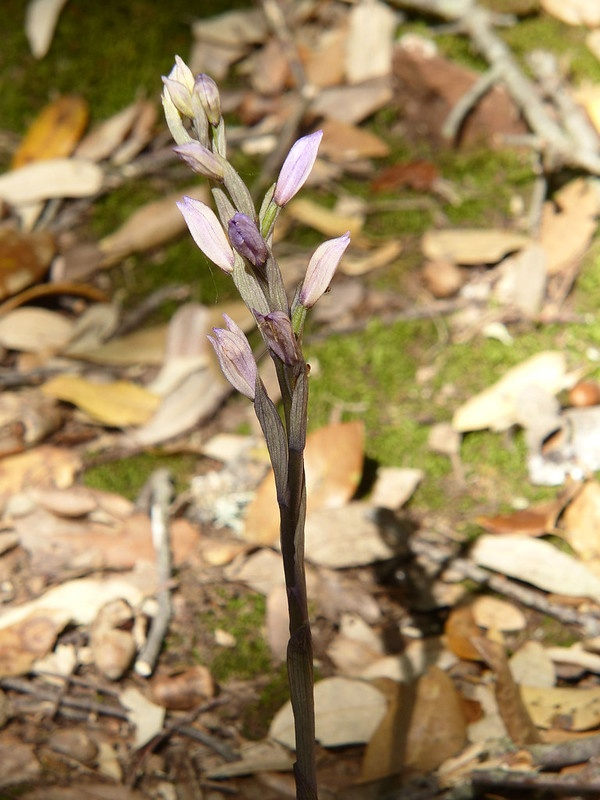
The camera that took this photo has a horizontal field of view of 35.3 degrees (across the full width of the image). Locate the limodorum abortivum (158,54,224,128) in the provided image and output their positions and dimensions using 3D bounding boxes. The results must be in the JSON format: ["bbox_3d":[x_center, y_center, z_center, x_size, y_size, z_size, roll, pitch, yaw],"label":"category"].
[{"bbox_3d":[-0.076,-0.214,0.662,0.037,0.047,0.041,-3,7,-2],"label":"limodorum abortivum"}]

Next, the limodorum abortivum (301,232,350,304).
[{"bbox_3d":[0.016,-0.089,0.663,0.035,0.049,0.065,-3,7,0],"label":"limodorum abortivum"}]

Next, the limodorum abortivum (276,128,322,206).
[{"bbox_3d":[-0.003,-0.159,0.655,0.035,0.049,0.059,-3,7,-1],"label":"limodorum abortivum"}]
